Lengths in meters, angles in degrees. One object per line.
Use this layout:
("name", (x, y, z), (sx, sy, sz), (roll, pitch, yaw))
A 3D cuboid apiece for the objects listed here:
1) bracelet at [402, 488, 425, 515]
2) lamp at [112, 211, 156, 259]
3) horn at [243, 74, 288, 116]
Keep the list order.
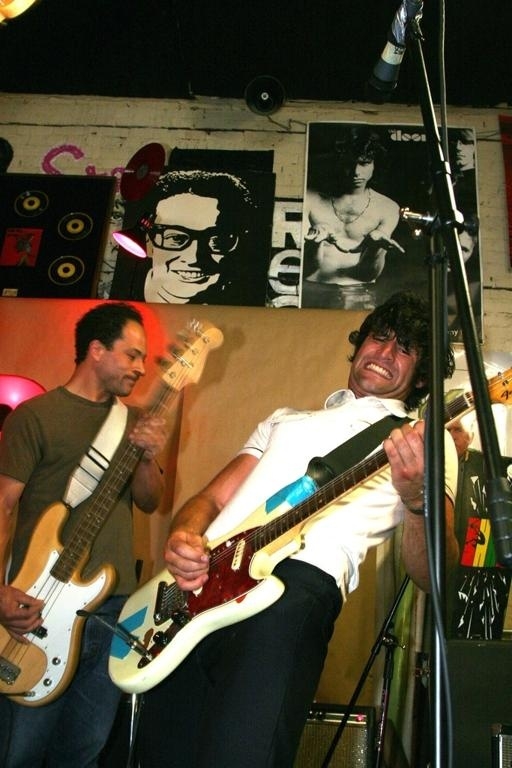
("bracelet", (0.360, 0.268, 1.420), (0.047, 0.059, 0.158), (10, -8, 15))
("lamp", (-0.680, -0.841, 3.408), (0.185, 0.177, 0.156), (15, -9, -17))
("horn", (0.059, -1.806, 3.898), (0.245, 0.122, 0.183), (12, -8, 3))
